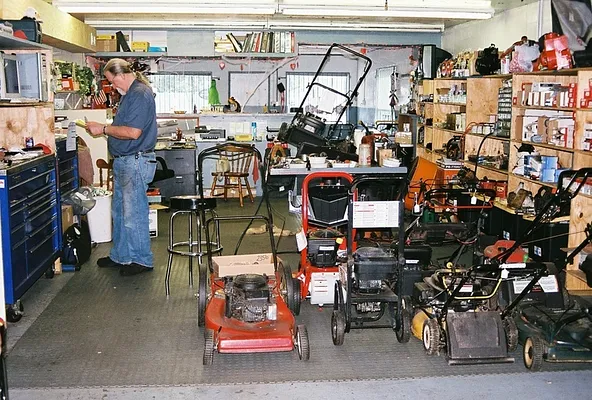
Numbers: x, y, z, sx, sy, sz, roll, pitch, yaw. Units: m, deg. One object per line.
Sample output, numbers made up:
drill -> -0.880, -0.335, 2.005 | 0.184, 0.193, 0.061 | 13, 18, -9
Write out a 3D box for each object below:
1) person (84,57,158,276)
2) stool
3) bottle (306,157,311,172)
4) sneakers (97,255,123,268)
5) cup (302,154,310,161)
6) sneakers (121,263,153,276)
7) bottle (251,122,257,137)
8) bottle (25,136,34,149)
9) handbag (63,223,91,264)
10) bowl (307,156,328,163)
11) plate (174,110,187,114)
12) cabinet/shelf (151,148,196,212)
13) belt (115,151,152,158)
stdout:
person -> -1.951, -0.373, 5.847 | 0.781, 2.392, 0.598 | -6, 15, -24
stool -> -1.094, 0.497, 5.625 | 0.664, 1.029, 0.669 | 0, 5, 36
bottle -> 0.152, -0.454, 6.567 | 0.111, 0.077, 0.191 | -1, 37, -3
sneakers -> -2.159, 0.730, 6.063 | 0.336, 0.140, 0.129 | 7, 4, -4
cup -> 0.115, -0.567, 6.927 | 0.112, 0.073, 0.061 | 6, 9, 24
sneakers -> -1.844, 0.793, 5.937 | 0.357, 0.145, 0.129 | -3, 13, -20
bottle -> -0.878, -1.454, 10.551 | 0.128, 0.277, 0.111 | 11, 17, 40
bottle -> -2.827, -0.606, 5.429 | 0.089, 0.105, 0.161 | -7, 14, -27
handbag -> -2.587, 0.524, 6.004 | 0.180, 0.397, 0.417 | -6, 10, -1
bowl -> 0.284, -0.518, 6.624 | 0.254, 0.090, 0.246 | 0, 13, 0
plate -> -2.489, -1.860, 10.971 | 0.230, 0.050, 0.418 | -4, 13, -15
cabinet/shelf -> -2.145, -0.442, 9.368 | 0.648, 0.982, 0.585 | -2, 1, -16
belt -> -1.848, -0.520, 5.797 | 0.448, 0.088, 0.123 | -2, 13, -8
